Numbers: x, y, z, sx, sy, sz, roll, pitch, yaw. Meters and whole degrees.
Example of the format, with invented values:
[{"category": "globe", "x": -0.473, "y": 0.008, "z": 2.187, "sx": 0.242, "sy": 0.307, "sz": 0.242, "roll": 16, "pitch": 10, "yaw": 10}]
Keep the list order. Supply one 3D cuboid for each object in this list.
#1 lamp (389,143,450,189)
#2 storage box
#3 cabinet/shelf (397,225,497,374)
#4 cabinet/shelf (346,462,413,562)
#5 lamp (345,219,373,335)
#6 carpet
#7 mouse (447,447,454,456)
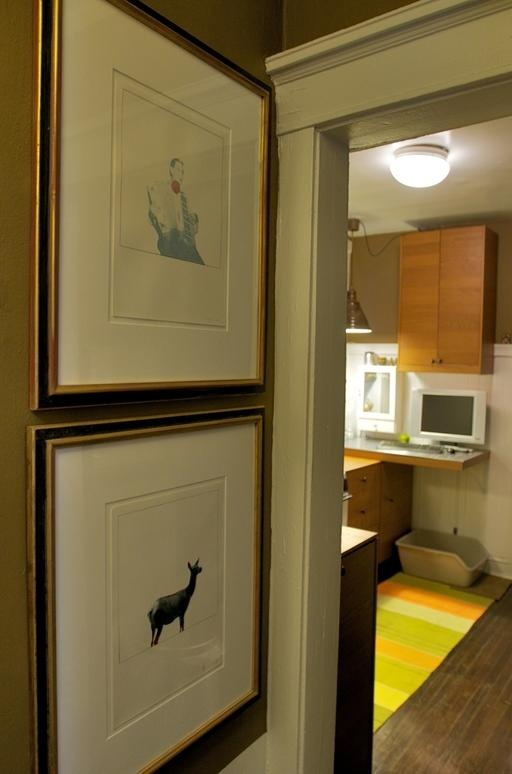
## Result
[{"category": "lamp", "x": 0.733, "y": -0.982, "z": 2.587, "sx": 0.271, "sy": 0.110, "sz": 0.271, "roll": 0, "pitch": 1, "yaw": 12}, {"category": "storage box", "x": 1.164, "y": 1.079, "z": 3.741, "sx": 0.394, "sy": 0.221, "sz": 0.294, "roll": -1, "pitch": 1, "yaw": 35}, {"category": "cabinet/shelf", "x": 1.208, "y": -0.473, "z": 3.844, "sx": 0.509, "sy": 1.105, "sz": 0.363, "roll": 3, "pitch": -28, "yaw": 18}, {"category": "cabinet/shelf", "x": 0.777, "y": 0.800, "z": 3.758, "sx": 0.133, "sy": 0.715, "sz": 1.126, "roll": 1, "pitch": 1, "yaw": 32}, {"category": "lamp", "x": 0.539, "y": -0.629, "z": 3.262, "sx": 0.160, "sy": 0.615, "sz": 0.185, "roll": 0, "pitch": 0, "yaw": -5}, {"category": "carpet", "x": 0.727, "y": 1.199, "z": 3.001, "sx": 0.627, "sy": 0.037, "sz": 1.501, "roll": 1, "pitch": 1, "yaw": 37}, {"category": "mouse", "x": 1.248, "y": 0.403, "z": 3.756, "sx": 0.027, "sy": 0.034, "sz": 0.039, "roll": -3, "pitch": 9, "yaw": 7}]
